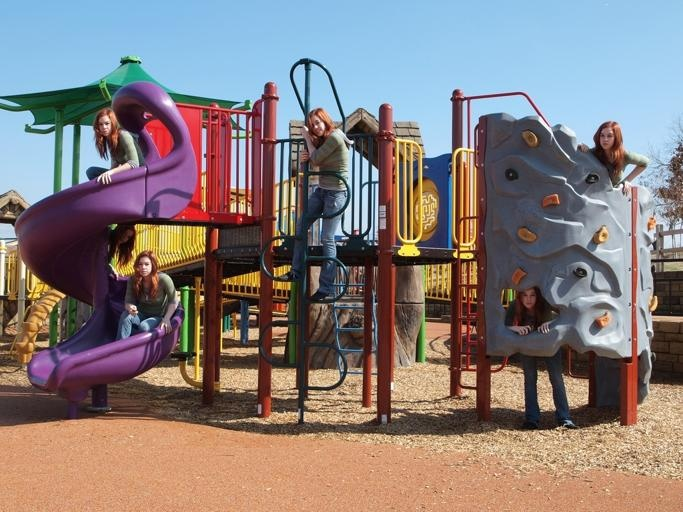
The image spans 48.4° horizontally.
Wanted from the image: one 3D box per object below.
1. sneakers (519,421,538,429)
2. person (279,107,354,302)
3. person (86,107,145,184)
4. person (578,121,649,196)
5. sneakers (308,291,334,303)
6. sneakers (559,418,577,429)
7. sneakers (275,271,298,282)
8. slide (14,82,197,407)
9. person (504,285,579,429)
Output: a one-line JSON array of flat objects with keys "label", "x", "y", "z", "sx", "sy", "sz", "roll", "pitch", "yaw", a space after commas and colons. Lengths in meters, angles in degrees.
[{"label": "sneakers", "x": 2.011, "y": 1.812, "z": 8.150, "sx": 0.083, "sy": 0.057, "sz": 0.122, "roll": 1, "pitch": -5, "yaw": -5}, {"label": "person", "x": -0.233, "y": -0.581, "z": 8.394, "sx": 0.704, "sy": 2.109, "sz": 0.519, "roll": -1, "pitch": -2, "yaw": 1}, {"label": "person", "x": -2.585, "y": -1.266, "z": 8.650, "sx": 0.538, "sy": 0.873, "sz": 0.655, "roll": -10, "pitch": 10, "yaw": -16}, {"label": "person", "x": 2.957, "y": -1.082, "z": 8.257, "sx": 0.930, "sy": 0.712, "sz": 0.317, "roll": 1, "pitch": -2, "yaw": -40}, {"label": "sneakers", "x": -0.212, "y": 0.459, "z": 8.309, "sx": 0.304, "sy": 0.159, "sz": 0.114, "roll": -3, "pitch": 33, "yaw": -9}, {"label": "sneakers", "x": 2.432, "y": 1.795, "z": 8.196, "sx": 0.184, "sy": 0.097, "sz": 0.142, "roll": 0, "pitch": -2, "yaw": -17}, {"label": "sneakers", "x": -0.637, "y": 0.213, "z": 8.350, "sx": 0.296, "sy": 0.140, "sz": 0.098, "roll": 1, "pitch": -3, "yaw": 24}, {"label": "slide", "x": -2.636, "y": -0.121, "z": 8.544, "sx": 1.907, "sy": 3.700, "sz": 1.189, "roll": -2, "pitch": -2, "yaw": 21}, {"label": "person", "x": 2.159, "y": 1.087, "z": 8.260, "sx": 0.661, "sy": 1.527, "sz": 0.582, "roll": -2, "pitch": -2, "yaw": 25}]
